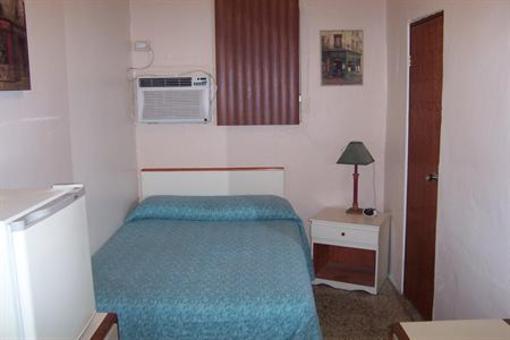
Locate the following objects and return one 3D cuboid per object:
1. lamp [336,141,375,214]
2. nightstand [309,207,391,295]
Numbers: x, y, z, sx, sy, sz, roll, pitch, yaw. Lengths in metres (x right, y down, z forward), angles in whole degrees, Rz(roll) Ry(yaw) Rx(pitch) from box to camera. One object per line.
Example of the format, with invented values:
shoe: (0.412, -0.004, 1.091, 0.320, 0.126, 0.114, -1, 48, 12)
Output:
lamp: (1.027, 0.064, 3.819, 0.341, 0.726, 0.349, 3, 11, 19)
nightstand: (0.949, 0.784, 3.718, 0.754, 0.671, 0.512, 4, 11, 21)
